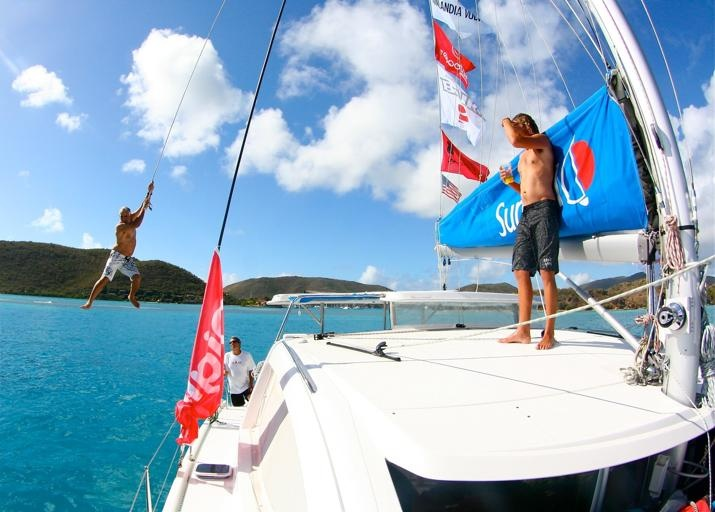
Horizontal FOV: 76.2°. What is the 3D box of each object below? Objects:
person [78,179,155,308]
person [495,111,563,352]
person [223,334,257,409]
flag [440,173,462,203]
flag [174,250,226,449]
[{"bbox_3d":[-3.502,-0.107,6.659,0.704,1.723,1.239,4,-6,-29],"label":"person"},{"bbox_3d":[1.897,-0.308,5.083,0.666,2.617,0.898,-2,-6,26],"label":"person"},{"bbox_3d":[-2.716,2.898,10.333,0.715,2.065,0.644,-2,7,1],"label":"person"},{"bbox_3d":[2.183,-1.576,10.759,0.355,0.615,0.677,0,-6,16],"label":"flag"},{"bbox_3d":[-2.000,1.144,5.922,0.590,2.514,0.527,4,-7,-29],"label":"flag"}]
